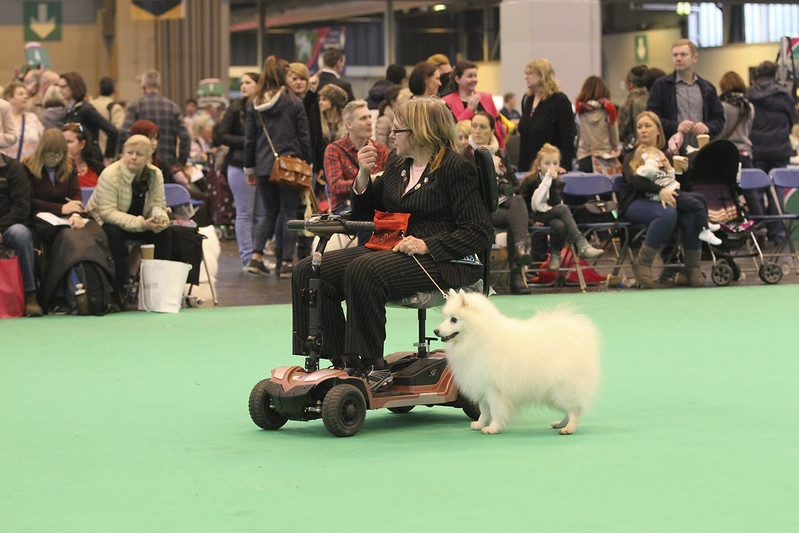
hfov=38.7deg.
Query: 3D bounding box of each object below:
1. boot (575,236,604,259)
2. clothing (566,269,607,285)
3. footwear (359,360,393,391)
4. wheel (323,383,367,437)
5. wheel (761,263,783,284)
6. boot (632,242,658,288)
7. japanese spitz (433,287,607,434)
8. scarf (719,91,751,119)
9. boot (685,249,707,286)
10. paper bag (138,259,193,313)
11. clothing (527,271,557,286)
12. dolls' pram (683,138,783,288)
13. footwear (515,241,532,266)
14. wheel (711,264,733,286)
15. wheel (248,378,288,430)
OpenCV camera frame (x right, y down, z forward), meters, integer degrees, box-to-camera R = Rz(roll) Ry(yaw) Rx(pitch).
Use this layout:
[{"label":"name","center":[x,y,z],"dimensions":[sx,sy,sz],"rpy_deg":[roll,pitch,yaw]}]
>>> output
[{"label":"boot","center":[1.913,-0.176,11.577],"dimensions":[0.337,0.301,0.142],"rpy_deg":[-1,11,0]},{"label":"clothing","center":[1.958,0.124,12.025],"dimensions":[0.303,0.165,0.194],"rpy_deg":[-4,-1,-8]},{"label":"footwear","center":[-0.149,0.736,7.639],"dimensions":[0.105,0.158,0.307],"rpy_deg":[-17,-3,28]},{"label":"wheel","center":[-0.349,0.943,7.412],"dimensions":[0.327,0.355,0.115],"rpy_deg":[2,-2,-45]},{"label":"wheel","center":[3.920,0.082,11.976],"dimensions":[0.145,0.153,0.060],"rpy_deg":[29,-4,-18]},{"label":"boot","center":[2.550,-0.004,11.825],"dimensions":[0.252,0.465,0.438],"rpy_deg":[0,3,12]},{"label":"japanese spitz","center":[0.750,0.630,7.266],"dimensions":[1.015,0.921,0.188],"rpy_deg":[-1,3,8]},{"label":"scarf","center":[4.087,-1.916,13.794],"dimensions":[0.334,0.162,0.338],"rpy_deg":[-1,22,-32]},{"label":"boot","center":[3.095,0.023,11.852],"dimensions":[0.332,0.376,0.181],"rpy_deg":[-4,4,-43]},{"label":"paper bag","center":[-2.269,0.192,10.853],"dimensions":[0.493,0.515,0.326],"rpy_deg":[-1,3,-7]},{"label":"clothing","center":[1.522,0.140,12.025],"dimensions":[0.204,0.202,0.162],"rpy_deg":[2,-2,4]},{"label":"dolls' pram","center":[3.395,-0.544,11.891],"dimensions":[0.781,1.497,0.444],"rpy_deg":[-3,4,-30]},{"label":"footwear","center":[1.221,-0.115,11.218],"dimensions":[0.134,0.227,0.158],"rpy_deg":[-1,3,-3]},{"label":"wheel","center":[3.377,0.097,11.869],"dimensions":[0.177,0.200,0.079],"rpy_deg":[-10,2,4]},{"label":"wheel","center":[-0.864,0.935,7.575],"dimensions":[0.103,0.304,0.282],"rpy_deg":[1,12,39]}]
